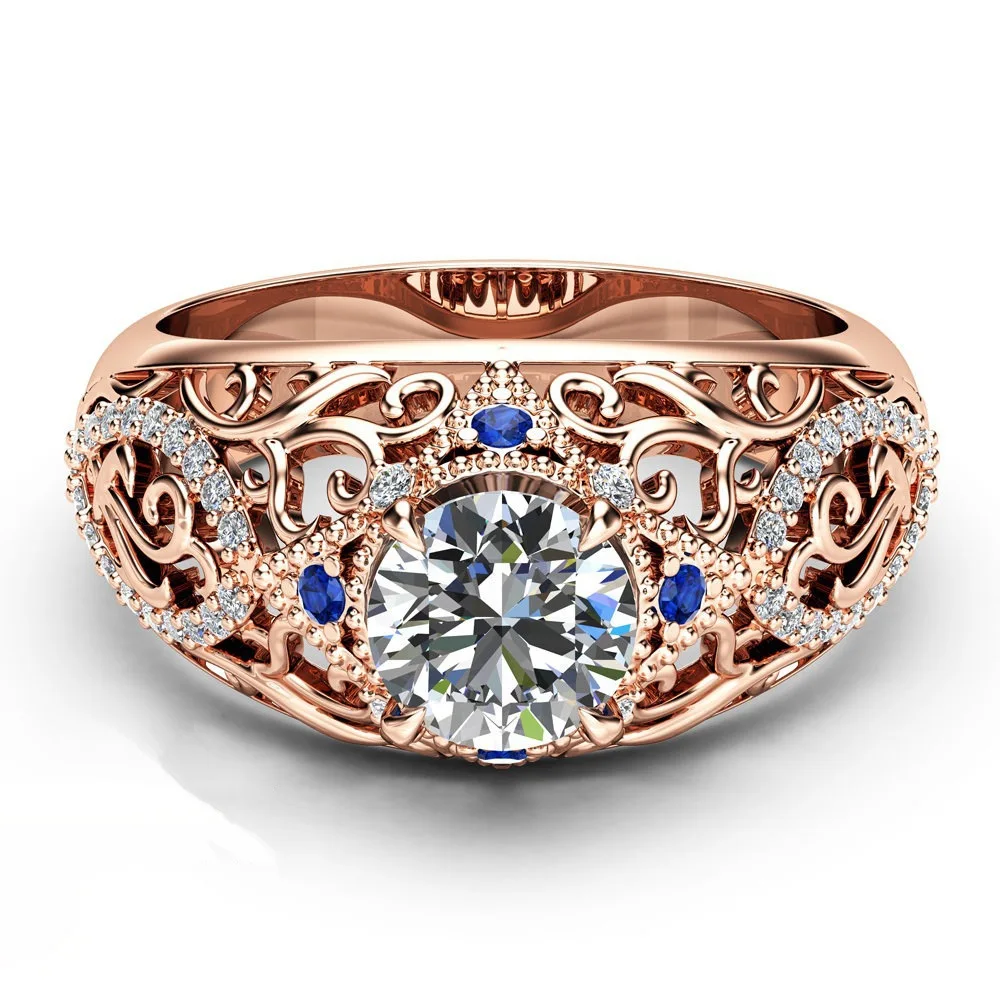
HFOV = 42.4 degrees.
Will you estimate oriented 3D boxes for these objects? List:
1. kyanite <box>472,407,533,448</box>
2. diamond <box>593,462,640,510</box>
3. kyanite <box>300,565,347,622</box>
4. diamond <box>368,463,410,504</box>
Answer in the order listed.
[{"bbox_3d":[0.000,-0.080,1.405,0.062,0.006,0.048,12,-79,-3],"label":"kyanite"},{"bbox_3d":[0.124,-0.016,1.399,0.049,0.011,0.051,-40,-82,-4],"label":"diamond"},{"bbox_3d":[-0.203,0.106,1.467,0.072,0.033,0.059,3,-67,36],"label":"kyanite"},{"bbox_3d":[-0.119,-0.014,1.401,0.042,0.008,0.051,16,-79,-4],"label":"diamond"}]
